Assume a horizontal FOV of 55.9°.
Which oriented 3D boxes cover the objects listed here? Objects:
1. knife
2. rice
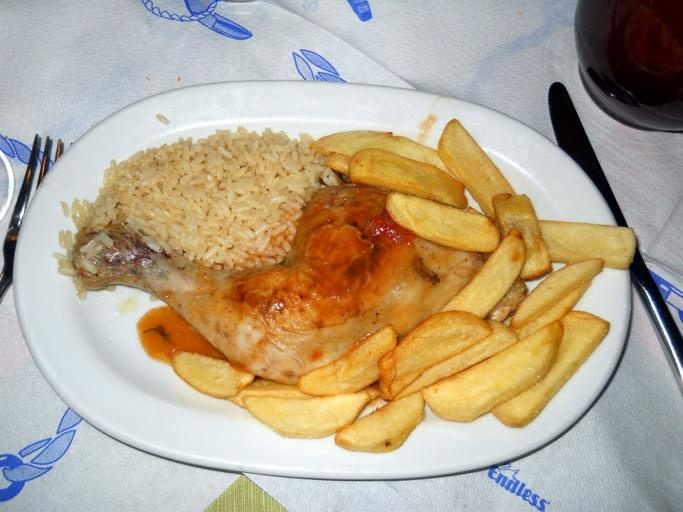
[{"bbox_3d":[1.105,-0.028,2.573,0.152,0.067,1.362,-22,80,-11],"label":"knife"},{"bbox_3d":[-0.592,-0.239,2.618,0.894,0.193,0.565,-8,82,-5],"label":"rice"}]
